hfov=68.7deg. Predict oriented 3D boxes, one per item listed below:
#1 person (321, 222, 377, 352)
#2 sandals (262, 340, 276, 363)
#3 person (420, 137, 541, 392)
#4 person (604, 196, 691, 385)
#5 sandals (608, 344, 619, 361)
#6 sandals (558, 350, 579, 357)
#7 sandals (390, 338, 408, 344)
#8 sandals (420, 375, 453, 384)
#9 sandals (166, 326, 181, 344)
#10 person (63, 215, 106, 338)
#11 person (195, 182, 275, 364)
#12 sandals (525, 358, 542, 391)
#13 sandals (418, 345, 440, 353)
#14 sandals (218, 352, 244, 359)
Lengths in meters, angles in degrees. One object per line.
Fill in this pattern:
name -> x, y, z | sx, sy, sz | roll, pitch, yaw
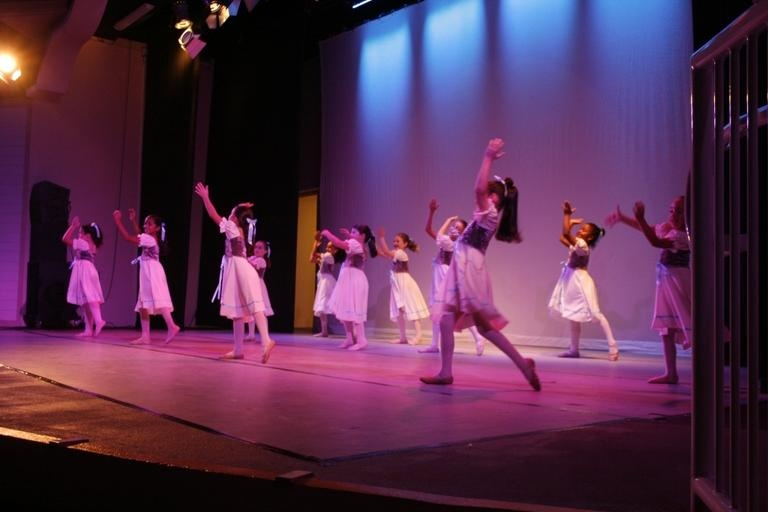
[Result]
person -> -0.445, 0.411, 7.320 | 0.882, 2.007, 1.090 | 1, -21, -2
sandals -> -1.023, 0.835, 4.930 | 0.060, 0.208, 0.079 | 15, -18, 5
person -> 0.638, 0.082, 3.818 | 0.719, 1.601, 0.567 | -6, -5, 42
person -> 2.084, 0.254, 4.207 | 0.659, 1.333, 0.689 | 5, -6, 2
sandals -> 2.299, 0.981, 5.631 | 0.102, 0.145, 0.346 | -3, -17, 10
sandals -> 1.866, 0.988, 5.726 | 0.203, 0.065, 0.253 | -3, -5, 11
sandals -> 0.173, 1.099, 7.313 | 0.247, 0.107, 0.083 | 2, -3, 31
sandals -> 0.349, 0.834, 3.769 | 0.195, 0.055, 0.077 | 4, -12, 3
sandals -> -2.561, 0.957, 6.802 | 0.181, 0.238, 0.083 | 21, 36, -8
person -> -4.047, 0.279, 7.539 | 0.452, 1.556, 0.759 | 0, -5, -29
person -> -1.326, 0.162, 5.057 | 0.599, 1.526, 0.659 | -2, -4, -8
sandals -> 0.984, 0.765, 3.696 | 0.083, 0.198, 0.277 | -3, -4, 16
sandals -> 0.486, 1.015, 6.106 | 0.238, 0.090, 0.089 | 5, -14, -6
sandals -> -1.386, 0.894, 5.049 | 0.197, 0.056, 0.076 | 6, -10, -7
